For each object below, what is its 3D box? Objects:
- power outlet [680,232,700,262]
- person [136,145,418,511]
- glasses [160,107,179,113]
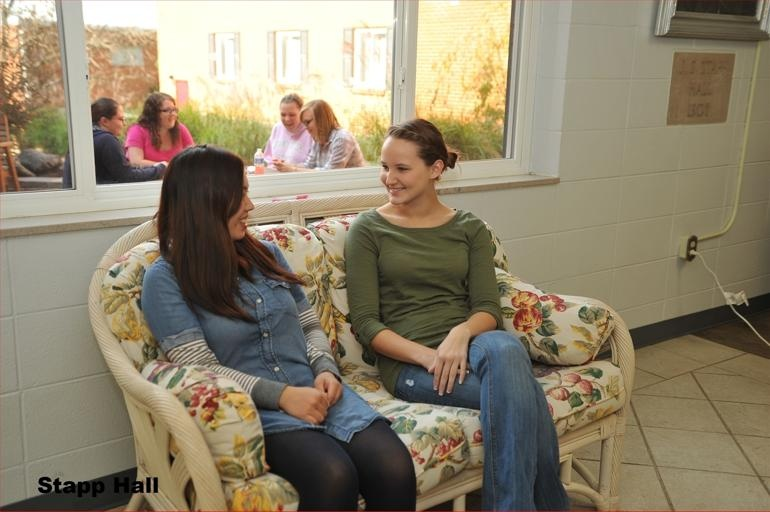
[{"bbox_3d":[2.059,-0.050,3.504,0.166,0.176,0.045,-9,19,-30],"label":"power outlet"},{"bbox_3d":[-0.324,0.198,1.582,0.868,1.022,0.497,14,21,39],"label":"person"},{"bbox_3d":[-1.023,-0.689,2.445,0.044,0.013,0.044,6,9,33],"label":"glasses"}]
